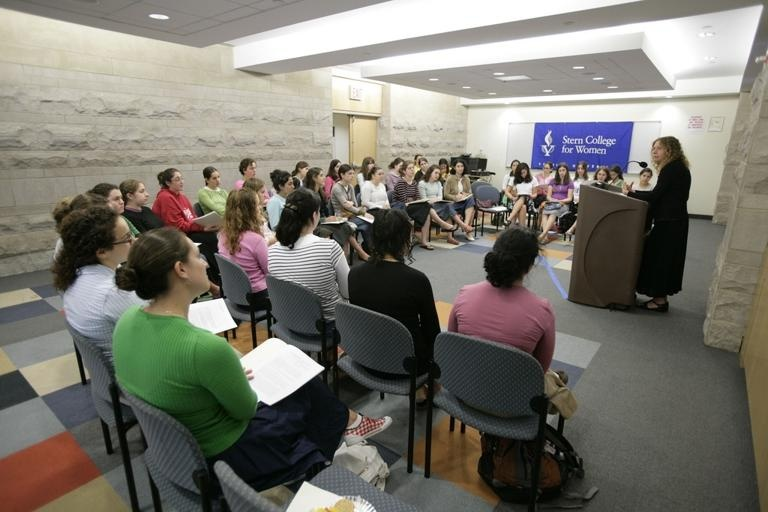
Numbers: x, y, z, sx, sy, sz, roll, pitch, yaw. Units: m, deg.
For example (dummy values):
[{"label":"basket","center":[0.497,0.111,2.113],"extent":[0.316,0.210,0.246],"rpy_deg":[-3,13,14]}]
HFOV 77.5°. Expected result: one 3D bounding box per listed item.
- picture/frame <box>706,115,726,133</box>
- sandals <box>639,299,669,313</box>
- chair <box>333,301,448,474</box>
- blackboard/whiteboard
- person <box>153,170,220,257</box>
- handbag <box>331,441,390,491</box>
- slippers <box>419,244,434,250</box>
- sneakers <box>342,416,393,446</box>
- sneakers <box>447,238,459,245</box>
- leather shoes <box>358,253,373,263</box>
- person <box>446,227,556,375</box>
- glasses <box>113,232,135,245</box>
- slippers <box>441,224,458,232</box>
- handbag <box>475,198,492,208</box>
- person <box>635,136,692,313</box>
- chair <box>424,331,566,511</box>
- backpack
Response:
[{"label":"picture/frame","center":[7.442,-2.985,10.742],"extent":[0.386,0.442,0.037],"rpy_deg":[11,17,41]},{"label":"sandals","center":[3.149,0.594,5.590],"extent":[0.150,0.113,0.281],"rpy_deg":[-9,16,-40]},{"label":"chair","center":[0.088,0.930,3.922],"extent":[0.793,1.230,0.815],"rpy_deg":[15,21,37]},{"label":"blackboard/whiteboard","center":[5.196,-2.892,12.898],"extent":[0.103,1.409,4.542],"rpy_deg":[0,13,-25]},{"label":"person","center":[-2.447,-0.423,6.159],"extent":[0.886,1.254,0.560],"rpy_deg":[4,13,0]},{"label":"handbag","center":[-0.184,1.462,3.422],"extent":[0.389,0.144,0.310],"rpy_deg":[15,9,25]},{"label":"slippers","center":[0.710,-0.151,7.932],"extent":[0.206,0.077,0.082],"rpy_deg":[6,13,34]},{"label":"sneakers","center":[-0.100,1.270,3.631],"extent":[0.450,0.177,0.148],"rpy_deg":[-10,9,-39]},{"label":"sneakers","center":[1.204,-0.247,8.322],"extent":[0.234,0.160,0.088],"rpy_deg":[3,12,17]},{"label":"leather shoes","center":[-0.283,0.034,6.990],"extent":[0.175,0.082,0.245],"rpy_deg":[2,1,6]},{"label":"person","center":[0.964,0.435,3.703],"extent":[0.802,1.172,0.947],"rpy_deg":[10,7,10]},{"label":"glasses","center":[-1.874,-0.124,3.459],"extent":[0.145,0.043,0.143],"rpy_deg":[1,13,18]},{"label":"slippers","center":[1.142,-0.478,8.281],"extent":[0.310,0.074,0.115],"rpy_deg":[-4,12,-12]},{"label":"handbag","center":[1.899,-0.996,9.042],"extent":[0.205,0.116,0.272],"rpy_deg":[8,13,35]},{"label":"person","center":[3.146,-0.426,5.419],"extent":[0.578,1.776,0.384],"rpy_deg":[11,19,31]},{"label":"chair","center":[0.781,1.172,3.335],"extent":[0.865,1.392,0.876],"rpy_deg":[9,21,28]},{"label":"backpack","center":[1.121,1.490,3.655],"extent":[0.691,0.643,0.485],"rpy_deg":[-2,4,16]}]
